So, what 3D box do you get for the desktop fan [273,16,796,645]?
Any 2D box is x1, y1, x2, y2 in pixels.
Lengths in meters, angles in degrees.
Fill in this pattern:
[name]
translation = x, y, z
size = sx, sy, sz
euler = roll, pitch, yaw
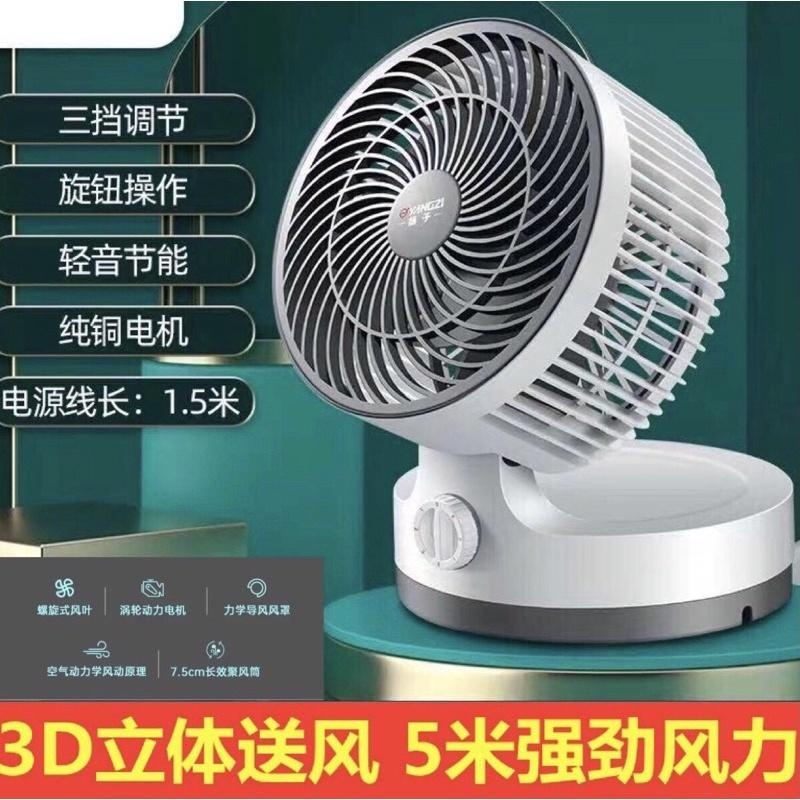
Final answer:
[desktop fan]
translation = 0.158, -0.101, 1.902
size = 0.832, 0.959, 0.703
euler = -6, 6, -34
